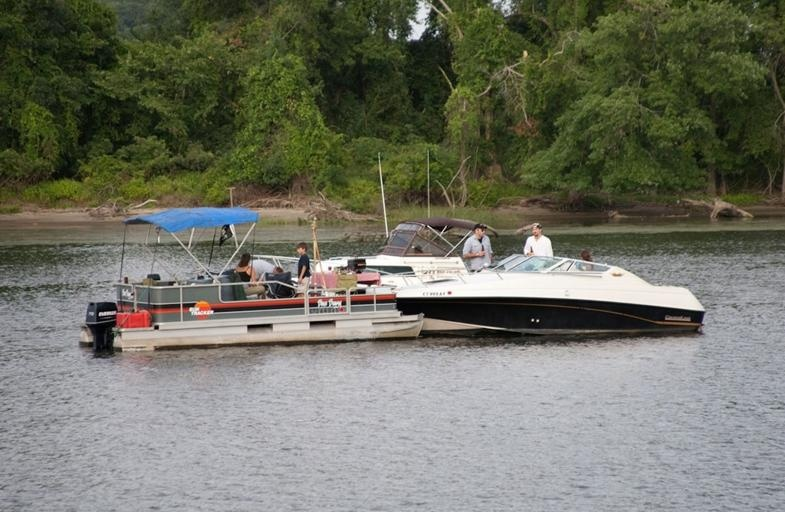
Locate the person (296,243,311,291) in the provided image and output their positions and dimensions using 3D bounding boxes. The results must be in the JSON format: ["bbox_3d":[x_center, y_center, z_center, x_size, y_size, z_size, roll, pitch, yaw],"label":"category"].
[{"bbox_3d":[-3.159,0.359,36.167,0.489,1.619,1.577,-3,3,-5],"label":"person"}]

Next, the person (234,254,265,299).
[{"bbox_3d":[-5.052,0.681,35.660,1.017,1.502,1.081,-5,4,-33],"label":"person"}]

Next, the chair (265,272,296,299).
[{"bbox_3d":[-3.995,1.100,36.006,0.939,0.969,0.563,-2,31,-8],"label":"chair"}]
